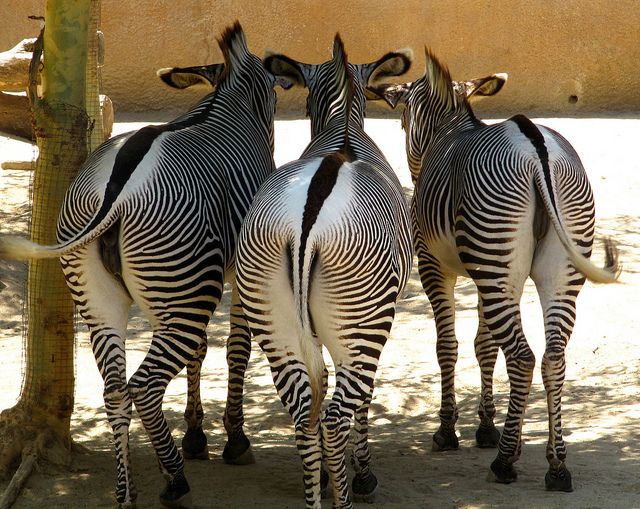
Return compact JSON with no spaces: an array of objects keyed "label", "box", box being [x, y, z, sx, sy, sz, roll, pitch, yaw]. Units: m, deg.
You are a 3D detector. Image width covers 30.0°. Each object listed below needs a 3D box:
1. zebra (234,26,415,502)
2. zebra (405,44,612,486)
[{"label":"zebra","box":[0.083,0.040,9.824,1.280,3.850,1.299,0,1,11]},{"label":"zebra","box":[1.619,0.042,10.669,1.665,3.737,1.921,0,1,3]}]
